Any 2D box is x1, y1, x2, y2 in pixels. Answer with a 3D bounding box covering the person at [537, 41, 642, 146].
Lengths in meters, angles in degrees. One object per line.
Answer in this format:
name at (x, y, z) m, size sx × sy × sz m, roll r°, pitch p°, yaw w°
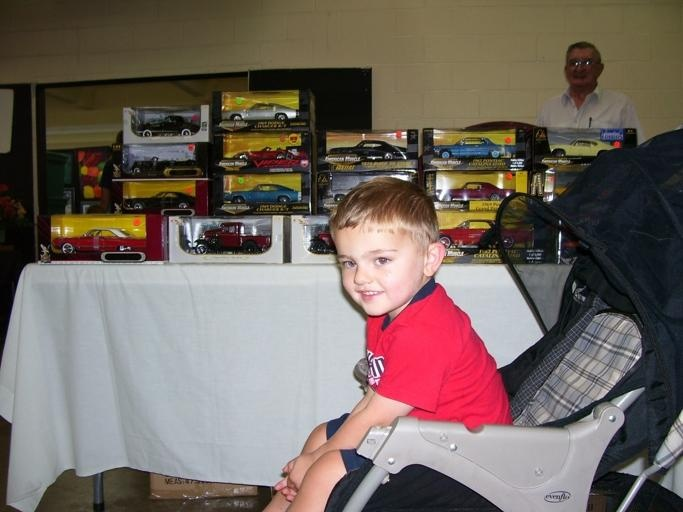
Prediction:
person at (1.742, -1.101, 4.601) m, size 0.771 × 0.807 × 0.438 m, roll 6°, pitch 7°, yaw 28°
